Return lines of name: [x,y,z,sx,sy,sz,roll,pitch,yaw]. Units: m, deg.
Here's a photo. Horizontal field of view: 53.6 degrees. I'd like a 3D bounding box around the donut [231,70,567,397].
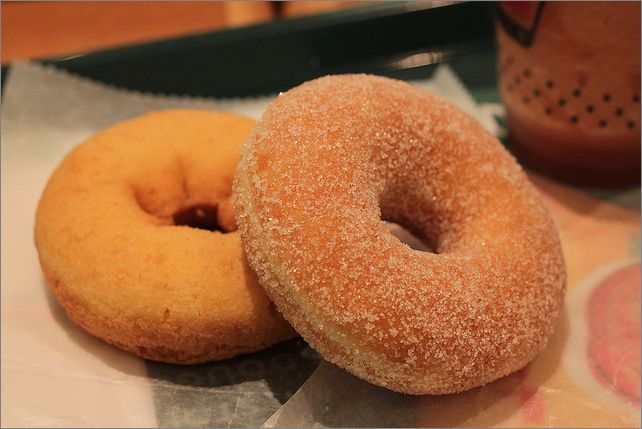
donut: [0.153,0.031,1.100,0.565,0.209,0.600,14,45,-13]
